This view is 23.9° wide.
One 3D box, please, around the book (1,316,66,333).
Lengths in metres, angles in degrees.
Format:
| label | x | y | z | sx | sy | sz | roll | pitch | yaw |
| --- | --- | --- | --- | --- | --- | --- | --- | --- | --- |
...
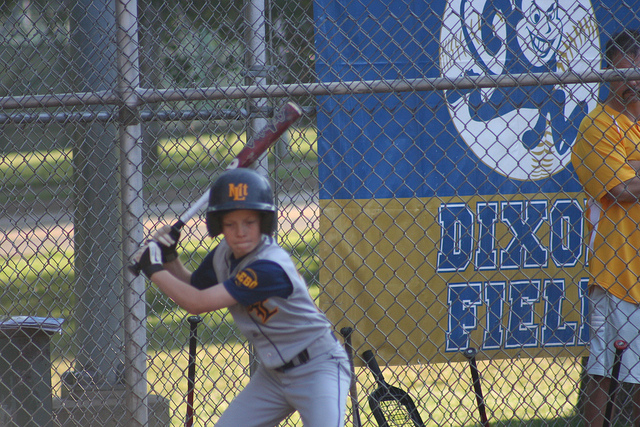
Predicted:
| label | x | y | z | sx | sy | sz | roll | pitch | yaw |
| --- | --- | --- | --- | --- | --- | --- | --- | --- | --- |
| book | -2.331 | 0.899 | 12.273 | 0.456 | 0.128 | 0.137 | -2 | 5 | -6 |

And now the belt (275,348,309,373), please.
| label | x | y | z | sx | sy | sz | roll | pitch | yaw |
| --- | --- | --- | --- | --- | --- | --- | --- | --- | --- |
| belt | -0.202 | 1.107 | 11.442 | 0.202 | 0.080 | 0.154 | -36 | 24 | 0 |

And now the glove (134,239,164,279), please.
| label | x | y | z | sx | sy | sz | roll | pitch | yaw |
| --- | --- | --- | --- | --- | --- | --- | --- | --- | --- |
| glove | -1.280 | 0.339 | 11.363 | 0.203 | 0.278 | 0.105 | -1 | -5 | -10 |

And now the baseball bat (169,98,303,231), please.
| label | x | y | z | sx | sy | sz | roll | pitch | yaw |
| --- | --- | --- | --- | --- | --- | --- | --- | --- | --- |
| baseball bat | -0.669 | -0.424 | 12.468 | 0.196 | 1.494 | 0.170 | 37 | -4 | 4 |

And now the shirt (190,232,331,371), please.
| label | x | y | z | sx | sy | sz | roll | pitch | yaw |
| --- | --- | --- | --- | --- | --- | --- | --- | --- | --- |
| shirt | -0.421 | 0.666 | 11.495 | 0.987 | 1.070 | 0.400 | -1 | 4 | 2 |
